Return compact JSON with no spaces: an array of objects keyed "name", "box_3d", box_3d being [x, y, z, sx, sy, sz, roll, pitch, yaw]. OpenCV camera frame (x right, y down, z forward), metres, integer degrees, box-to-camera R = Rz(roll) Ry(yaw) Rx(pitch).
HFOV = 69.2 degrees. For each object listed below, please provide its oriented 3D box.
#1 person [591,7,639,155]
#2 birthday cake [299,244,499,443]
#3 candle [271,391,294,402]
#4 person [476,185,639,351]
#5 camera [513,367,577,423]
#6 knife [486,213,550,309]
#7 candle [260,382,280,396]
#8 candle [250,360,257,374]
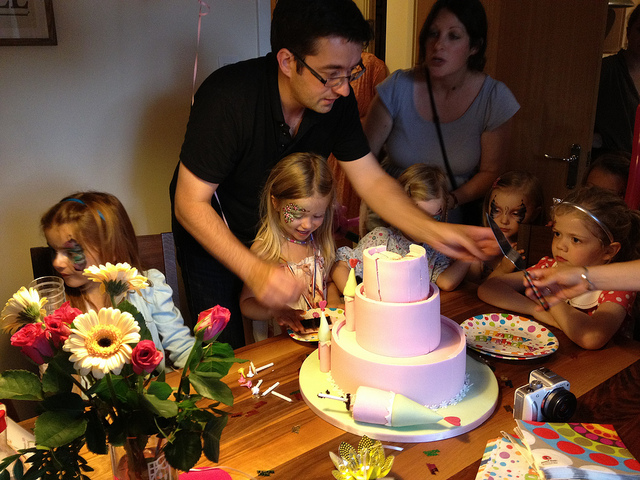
[{"name":"person","box_3d":[2.029,-1.059,3.113,0.244,0.895,0.176,13,26,38]},{"name":"birthday cake","box_3d":[0.255,0.253,1.493,0.591,0.470,0.595,-14,18,-27]},{"name":"candle","box_3d":[-0.118,0.481,1.436,0.083,0.009,0.014,9,26,31]},{"name":"person","box_3d":[1.073,0.047,1.976,0.574,0.395,0.744,8,24,42]},{"name":"camera","box_3d":[0.642,0.445,1.310,0.162,0.130,0.117,-14,19,-23]},{"name":"knife","box_3d":[0.890,0.095,2.076,0.070,0.513,0.037,-41,10,-34]},{"name":"candle","box_3d":[-0.157,0.466,1.462,0.016,0.008,0.083,16,27,29]},{"name":"candle","box_3d":[-0.225,0.419,1.538,0.008,0.037,0.025,-25,-2,-1]}]
